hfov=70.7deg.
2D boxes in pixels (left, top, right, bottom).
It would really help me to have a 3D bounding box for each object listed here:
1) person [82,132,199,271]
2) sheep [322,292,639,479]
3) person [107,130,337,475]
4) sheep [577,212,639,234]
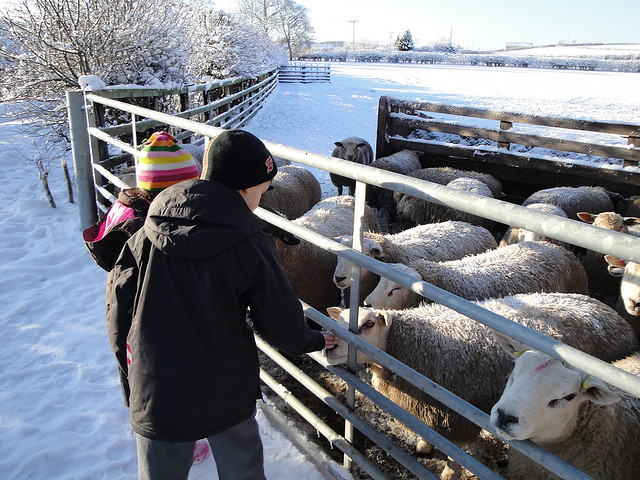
[{"bbox_3d":[-0.872,-0.231,2.588,0.843,0.759,0.719,-9,22,-26],"label":"person"},{"bbox_3d":[1.376,0.953,3.459,2.867,1.362,1.022,-2,-2,-3],"label":"sheep"},{"bbox_3d":[-0.512,0.349,2.083,0.870,1.577,0.663,-12,30,-23],"label":"person"},{"bbox_3d":[2.564,-0.160,4.005,0.595,0.283,0.332,4,4,-44],"label":"sheep"}]
